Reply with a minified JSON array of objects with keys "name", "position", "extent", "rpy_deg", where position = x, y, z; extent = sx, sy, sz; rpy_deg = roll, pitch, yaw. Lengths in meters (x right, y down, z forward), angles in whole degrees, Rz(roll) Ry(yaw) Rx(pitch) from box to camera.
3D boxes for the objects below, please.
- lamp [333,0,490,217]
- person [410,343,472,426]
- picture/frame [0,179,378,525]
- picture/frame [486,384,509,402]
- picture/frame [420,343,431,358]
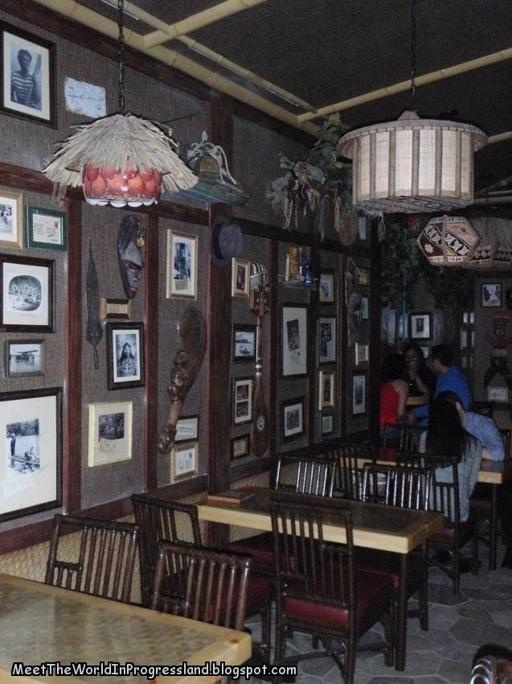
[{"name":"lamp","position":[0.514,-0.699,2.106],"extent":[0.437,0.670,0.435],"rpy_deg":[-4,13,-18]},{"name":"person","position":[1.502,0.435,5.111],"extent":[0.466,0.849,0.376],"rpy_deg":[4,11,18]},{"name":"picture/frame","position":[-0.312,0.028,3.367],"extent":[0.072,1.579,2.503],"rpy_deg":[2,3,31]},{"name":"picture/frame","position":[2.946,0.625,7.521],"extent":[0.021,0.188,0.201],"rpy_deg":[22,-17,-40]},{"name":"picture/frame","position":[2.031,0.108,7.400],"extent":[0.088,0.167,0.166],"rpy_deg":[1,-3,-23]}]
